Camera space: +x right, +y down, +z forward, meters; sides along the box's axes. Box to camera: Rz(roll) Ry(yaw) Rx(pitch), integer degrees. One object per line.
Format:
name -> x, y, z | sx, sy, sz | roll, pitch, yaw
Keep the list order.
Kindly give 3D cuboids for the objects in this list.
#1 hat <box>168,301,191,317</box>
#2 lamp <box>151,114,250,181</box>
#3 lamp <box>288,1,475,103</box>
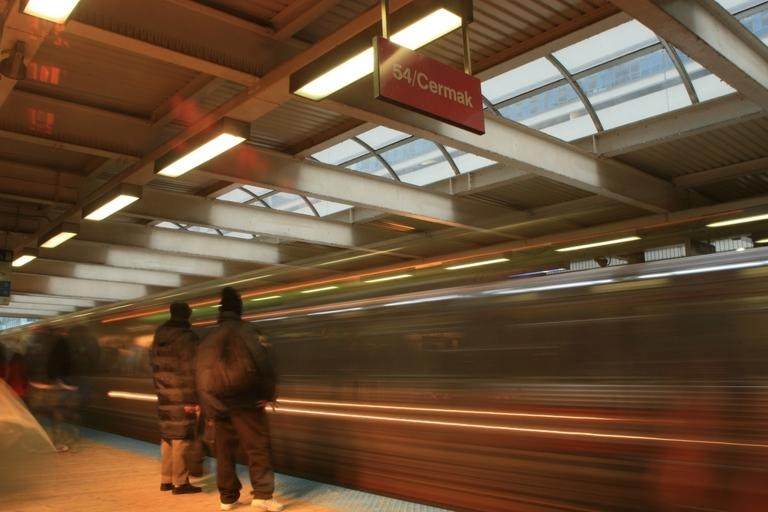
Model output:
hat -> -2.381, 0.635, 6.410 | 0.204, 0.157, 0.221 | -5, -4, -42
lamp -> -2.960, -1.660, 8.655 | 2.158, 0.160, 0.461 | -15, -19, 41
lamp -> -0.099, -2.344, 6.168 | 2.070, 0.690, 0.720 | -8, -11, 43
